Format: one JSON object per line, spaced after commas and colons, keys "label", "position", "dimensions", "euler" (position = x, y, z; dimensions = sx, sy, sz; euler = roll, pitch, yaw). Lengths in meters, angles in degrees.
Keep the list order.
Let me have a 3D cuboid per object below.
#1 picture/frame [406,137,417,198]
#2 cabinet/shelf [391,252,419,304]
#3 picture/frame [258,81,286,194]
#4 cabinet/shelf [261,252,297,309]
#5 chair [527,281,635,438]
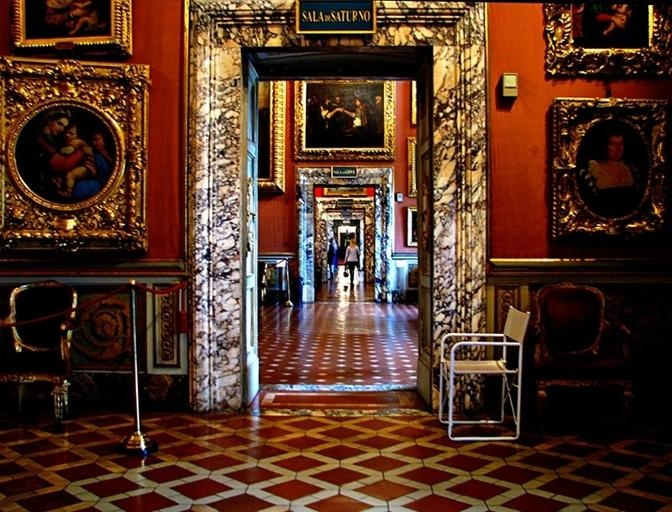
{"label": "picture/frame", "position": [1.646, -1.926, 13.760], "dimensions": [0.174, 1.301, 0.252], "euler": [1, 6, 6]}
{"label": "cabinet/shelf", "position": [1.533, 0.491, 14.252], "dimensions": [0.575, 1.195, 0.375], "euler": [1, 6, 5]}
{"label": "picture/frame", "position": [-1.406, -2.546, 13.690], "dimensions": [0.606, 2.376, 0.341], "euler": [3, 7, 25]}
{"label": "cabinet/shelf", "position": [-1.336, 0.491, 13.957], "dimensions": [0.982, 1.300, 0.985], "euler": [0, -1, -3]}
{"label": "chair", "position": [2.327, 0.912, 5.827], "dimensions": [1.006, 1.247, 0.676], "euler": [1, 7, 10]}
